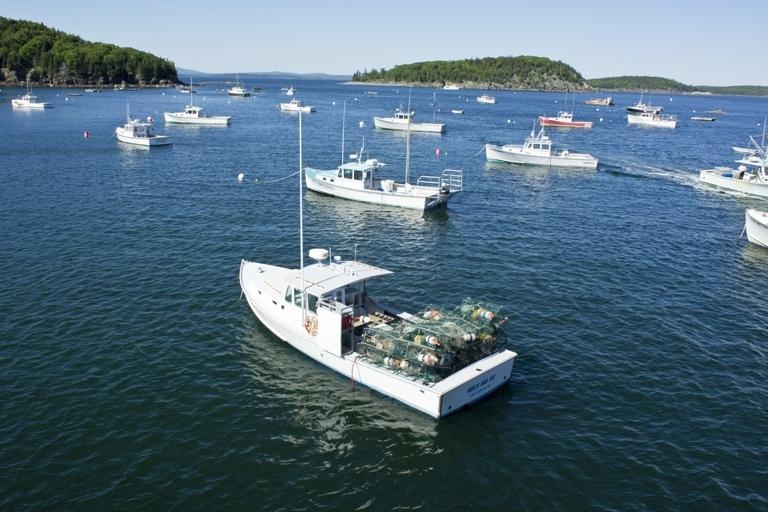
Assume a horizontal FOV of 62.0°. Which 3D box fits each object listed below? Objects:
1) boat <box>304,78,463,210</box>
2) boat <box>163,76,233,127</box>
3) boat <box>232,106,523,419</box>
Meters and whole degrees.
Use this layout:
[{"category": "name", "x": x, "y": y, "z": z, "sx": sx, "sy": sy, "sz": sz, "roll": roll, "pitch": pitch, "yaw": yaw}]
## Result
[{"category": "boat", "x": 4.640, "y": -7.183, "z": 76.778, "sx": 25.103, "sy": 11.938, "sz": 9.089, "roll": 15, "pitch": 33, "yaw": 23}, {"category": "boat", "x": -38.969, "y": -29.180, "z": 133.204, "sx": 14.881, "sy": 3.374, "sz": 4.322, "roll": 11, "pitch": 19, "yaw": 27}, {"category": "boat", "x": -2.199, "y": 4.189, "z": 44.982, "sx": 21.726, "sy": 7.865, "sz": 7.266, "roll": 14, "pitch": 20, "yaw": 35}]
